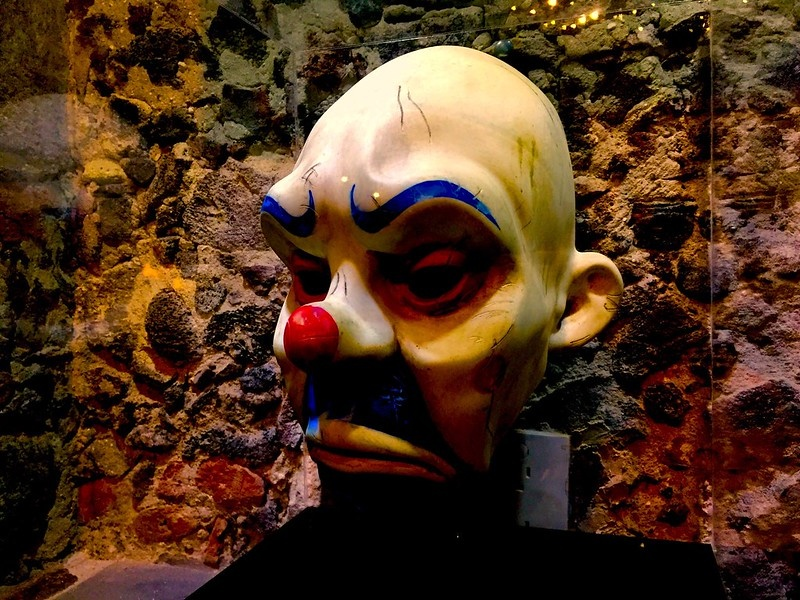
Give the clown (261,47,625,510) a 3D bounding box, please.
[{"bbox_3d":[-0.033,-0.016,2.741,1.072,1.287,0.974,-6,-13,44],"label":"clown"}]
